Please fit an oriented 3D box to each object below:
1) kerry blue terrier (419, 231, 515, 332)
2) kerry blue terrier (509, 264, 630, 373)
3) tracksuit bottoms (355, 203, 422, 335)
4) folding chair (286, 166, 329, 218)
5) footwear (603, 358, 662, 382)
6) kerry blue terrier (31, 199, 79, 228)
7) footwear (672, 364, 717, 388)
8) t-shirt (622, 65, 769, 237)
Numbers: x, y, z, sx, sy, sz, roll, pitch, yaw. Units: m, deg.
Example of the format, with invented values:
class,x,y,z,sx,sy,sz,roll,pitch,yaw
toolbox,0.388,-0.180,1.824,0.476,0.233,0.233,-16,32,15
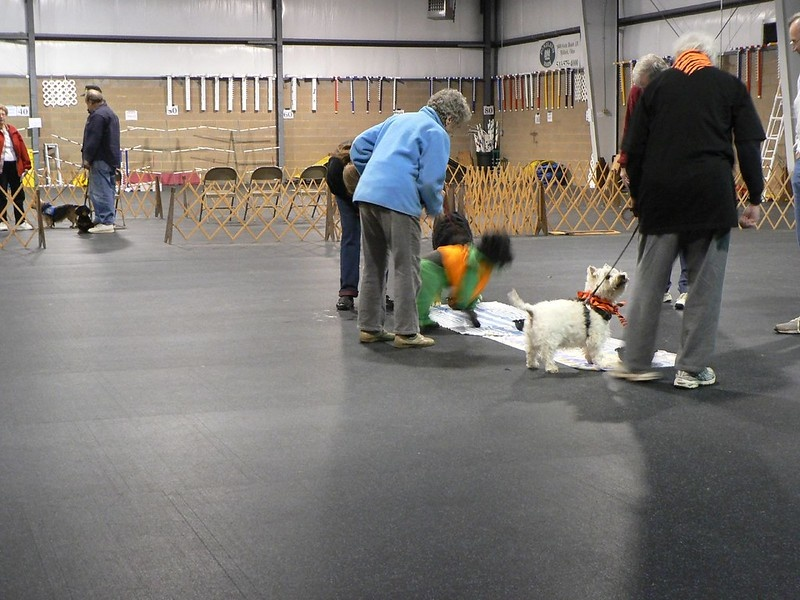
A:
class,x,y,z,sx,sy,sz,roll,pitch,yaw
kerry blue terrier,0.443,-0.166,4.608,1.196,0.753,0.352,-10,-9,44
kerry blue terrier,1.005,0.110,3.744,0.654,0.631,0.304,-1,4,-6
tracksuit bottoms,-0.014,-0.214,4.223,0.346,0.901,0.411,1,15,-37
folding chair,-1.882,-2.150,12.681,0.689,1.061,4.453,-2,12,-9
footwear,1.277,0.405,3.514,0.339,0.173,0.119,-7,-1,36
kerry blue terrier,-5.952,-1.462,10.958,0.470,0.401,1.243,-7,14,-32
footwear,1.594,0.420,3.407,0.248,0.136,0.100,-12,14,-29
t-shirt,1.495,-0.745,3.207,0.647,0.825,0.206,7,13,31
